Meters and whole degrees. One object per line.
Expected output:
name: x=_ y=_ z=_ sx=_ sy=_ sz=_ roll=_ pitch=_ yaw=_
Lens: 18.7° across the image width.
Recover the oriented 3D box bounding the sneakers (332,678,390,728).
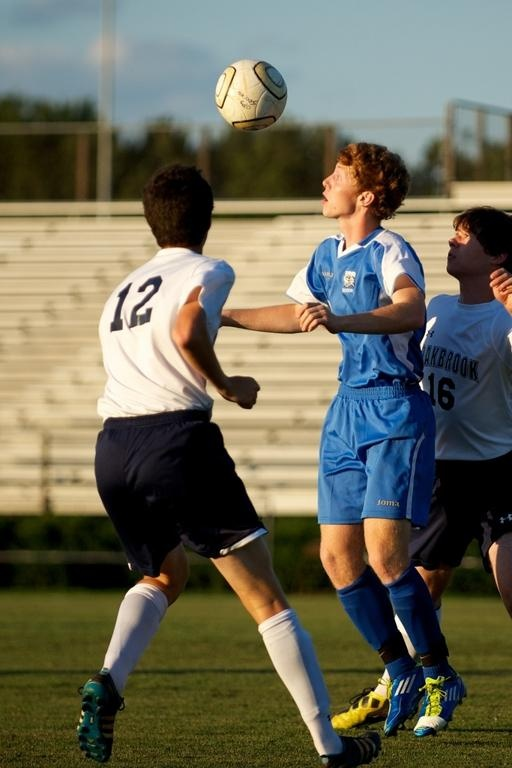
sneakers: x=0.450 y=1.332 z=6.431 sx=0.325 sy=0.121 sz=0.118 roll=-18 pitch=1 yaw=15

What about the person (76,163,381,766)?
person: x=-0.149 y=0.276 z=5.692 sx=0.889 sy=2.146 sz=0.489 roll=0 pitch=7 yaw=4

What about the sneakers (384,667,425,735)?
sneakers: x=0.582 y=1.262 z=6.140 sx=0.155 sy=0.307 sz=0.227 roll=1 pitch=7 yaw=6

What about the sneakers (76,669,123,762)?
sneakers: x=-0.536 y=1.163 z=5.535 sx=0.141 sy=0.321 sz=0.167 roll=0 pitch=2 yaw=14
